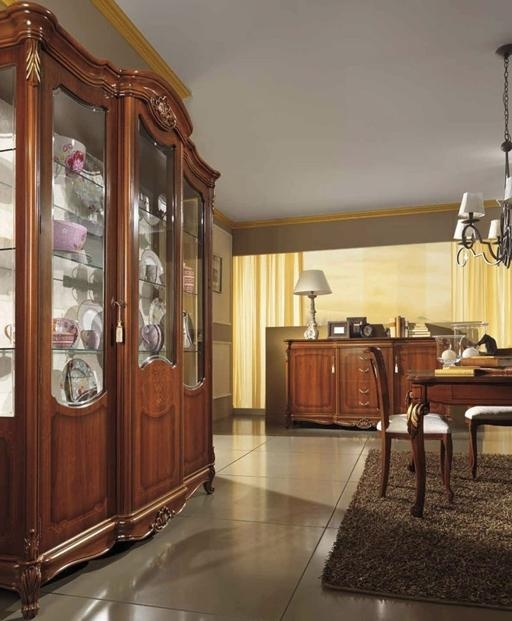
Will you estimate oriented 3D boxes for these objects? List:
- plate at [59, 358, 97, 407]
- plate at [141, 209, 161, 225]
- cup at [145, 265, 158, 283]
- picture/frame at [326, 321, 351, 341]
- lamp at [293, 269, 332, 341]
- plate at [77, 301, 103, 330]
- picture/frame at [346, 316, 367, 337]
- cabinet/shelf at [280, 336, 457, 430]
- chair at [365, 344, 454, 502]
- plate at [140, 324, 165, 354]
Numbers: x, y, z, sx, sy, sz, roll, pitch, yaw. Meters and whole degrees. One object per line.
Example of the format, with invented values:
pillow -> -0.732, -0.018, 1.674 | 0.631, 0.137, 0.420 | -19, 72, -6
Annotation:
plate -> -0.664, 0.248, 1.813 | 0.187, 0.136, 0.005 | -14, -7, 35
plate -> -0.479, -0.422, 2.242 | 0.075, 0.031, 0.086 | -16, -21, 8
cup -> -0.470, -0.165, 2.236 | 0.057, 0.094, 0.072 | -1, 1, -7
picture/frame -> 0.962, 0.233, 5.714 | 0.221, 0.193, 0.023 | -1, -10, 17
lamp -> 0.692, -0.064, 6.029 | 0.461, 0.815, 0.413 | 2, -10, -6
plate -> -0.636, 0.017, 1.891 | 0.011, 0.107, 0.107 | -3, -6, 34
picture/frame -> 1.157, 0.181, 5.722 | 0.230, 0.314, 0.217 | -1, -5, 9
cabinet/shelf -> 1.248, 0.870, 5.642 | 1.687, 0.992, 0.584 | -1, -15, 13
chair -> 0.901, 0.639, 2.844 | 0.494, 0.758, 0.493 | -6, -9, 37
plate -> -0.460, 0.121, 2.222 | 0.109, 0.126, 0.095 | 4, -6, -38
